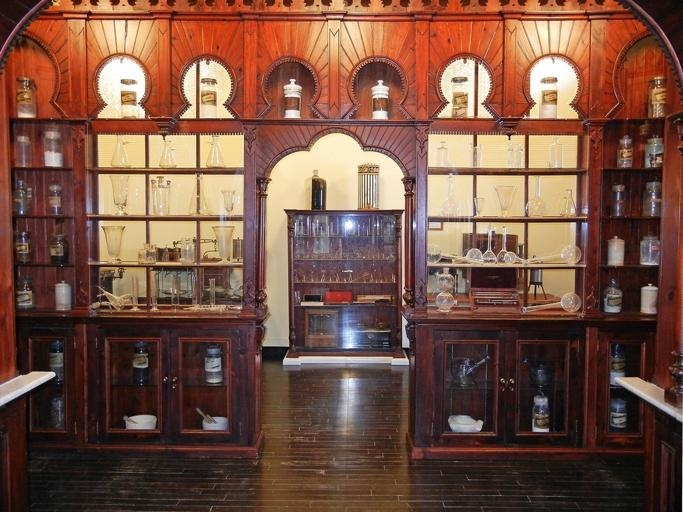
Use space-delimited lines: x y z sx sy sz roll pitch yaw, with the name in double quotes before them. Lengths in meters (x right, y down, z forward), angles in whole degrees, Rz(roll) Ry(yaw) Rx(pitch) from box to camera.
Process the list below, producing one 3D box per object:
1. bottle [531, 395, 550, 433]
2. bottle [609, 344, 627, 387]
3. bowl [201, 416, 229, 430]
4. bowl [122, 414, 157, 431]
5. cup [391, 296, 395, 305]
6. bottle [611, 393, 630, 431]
"bottle" 1.783 1.411 6.919 0.153 0.333 0.080 2 10 10
"bottle" 2.466 0.969 6.917 0.114 0.386 0.166 8 12 37
"bowl" -1.143 1.511 7.000 0.136 0.104 0.141 1 -7 0
"bowl" -1.825 1.475 6.976 0.189 0.137 0.181 -5 -5 0
"cup" 0.647 0.566 9.876 0.071 0.141 0.074 -1 0 0
"bottle" 2.491 1.402 6.922 0.173 0.318 0.061 -1 10 -6
